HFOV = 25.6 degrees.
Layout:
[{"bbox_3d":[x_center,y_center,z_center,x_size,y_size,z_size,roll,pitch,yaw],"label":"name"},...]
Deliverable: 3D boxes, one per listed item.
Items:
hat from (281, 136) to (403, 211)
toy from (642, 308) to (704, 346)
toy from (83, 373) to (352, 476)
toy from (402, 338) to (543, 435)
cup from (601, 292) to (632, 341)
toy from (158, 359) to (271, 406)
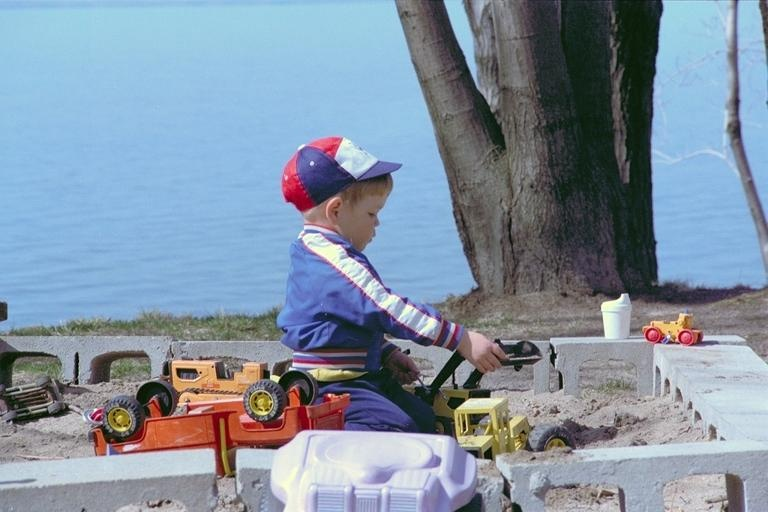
[{"bbox_3d":[-0.442,-0.727,15.648,1.128,0.556,0.694,-25,11,7],"label":"hat"},{"bbox_3d":[3.133,0.778,18.285,0.580,0.303,0.323,2,6,20],"label":"toy"},{"bbox_3d":[-1.643,1.640,16.097,1.744,0.631,1.121,-5,-2,4],"label":"toy"},{"bbox_3d":[0.780,1.227,16.415,1.485,0.916,0.682,0,5,15],"label":"toy"},{"bbox_3d":[2.527,0.662,18.422,0.431,0.595,0.450,2,0,0],"label":"cup"},{"bbox_3d":[-1.775,1.267,17.282,0.821,0.330,0.554,1,0,14],"label":"toy"}]
